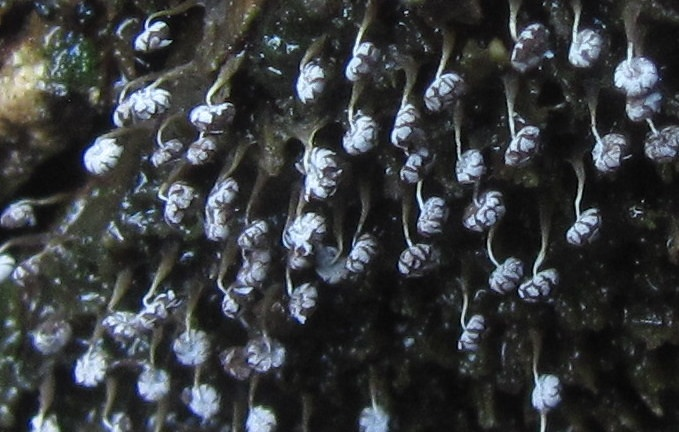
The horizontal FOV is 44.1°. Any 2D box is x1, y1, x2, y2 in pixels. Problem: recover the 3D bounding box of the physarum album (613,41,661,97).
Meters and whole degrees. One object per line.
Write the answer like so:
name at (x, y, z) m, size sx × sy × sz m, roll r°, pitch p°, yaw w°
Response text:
physarum album at (0.674, -0.328, 1.908) m, size 0.100 × 0.117 × 0.159 m, roll -5°, pitch 6°, yaw 6°
